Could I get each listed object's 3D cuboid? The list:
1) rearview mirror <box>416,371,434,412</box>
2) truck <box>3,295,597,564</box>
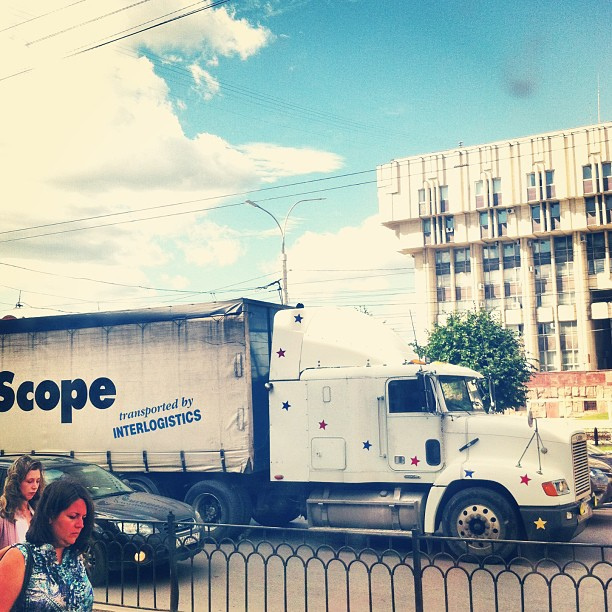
[{"bbox_3d":[1.992,1.396,22.439,0.330,0.689,0.312,1,-5,-15],"label":"rearview mirror"},{"bbox_3d":[-0.635,2.179,24.922,14.176,5.093,4.071,-4,-6,27],"label":"truck"}]
